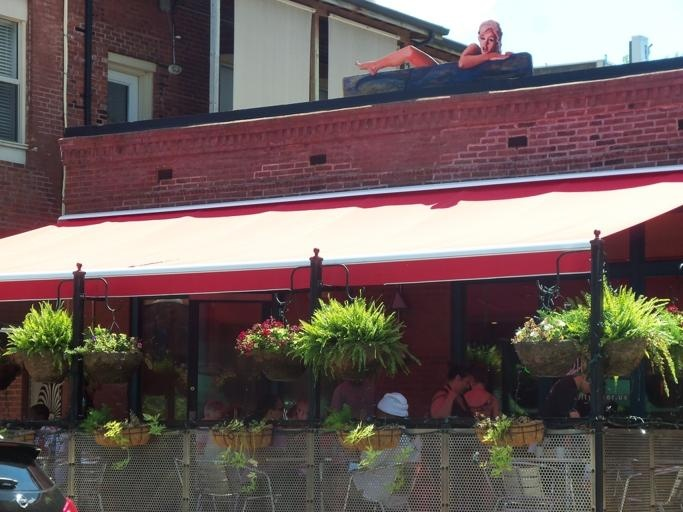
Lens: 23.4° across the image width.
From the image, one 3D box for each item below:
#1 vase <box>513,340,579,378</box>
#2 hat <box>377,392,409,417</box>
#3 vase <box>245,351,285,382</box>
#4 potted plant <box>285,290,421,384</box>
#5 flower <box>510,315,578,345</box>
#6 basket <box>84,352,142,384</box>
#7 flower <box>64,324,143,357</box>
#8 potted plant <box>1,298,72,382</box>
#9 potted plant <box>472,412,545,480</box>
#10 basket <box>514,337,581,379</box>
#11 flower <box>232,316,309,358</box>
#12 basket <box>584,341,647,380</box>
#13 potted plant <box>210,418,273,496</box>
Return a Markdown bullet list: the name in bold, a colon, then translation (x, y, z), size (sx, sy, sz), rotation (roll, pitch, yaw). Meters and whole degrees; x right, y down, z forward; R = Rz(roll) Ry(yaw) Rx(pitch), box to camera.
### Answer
- **vase**: translation (3.000, 1.440, 23.741), size (0.799, 0.407, 0.791), rotation (0, -9, 3)
- **hat**: translation (0.830, 2.284, 25.439), size (0.413, 0.257, 0.402), rotation (14, 5, -21)
- **vase**: translation (-1.241, 1.716, 26.238), size (0.754, 0.292, 0.683), rotation (6, -8, 42)
- **potted plant**: translation (0.088, 1.224, 24.608), size (1.491, 0.934, 1.475), rotation (1, -7, -6)
- **flower**: translation (2.885, 1.064, 23.602), size (0.518, 0.264, 0.516), rotation (3, -9, -29)
- **basket**: translation (-3.584, 1.667, 25.100), size (0.578, 0.299, 0.575), rotation (-1, -7, 20)
- **flower**: translation (-3.796, 1.313, 25.855), size (0.755, 0.340, 0.745), rotation (2, -1, -23)
- **potted plant**: translation (-4.783, 1.302, 25.516), size (1.225, 1.223, 1.160), rotation (8, -12, -33)
- **potted plant**: translation (2.345, 2.663, 23.206), size (0.901, 0.535, 0.865), rotation (0, -4, 11)
- **basket**: translation (3.000, 1.424, 23.562), size (0.651, 0.333, 0.643), rotation (6, -8, -33)
- **flower**: translation (-1.052, 1.221, 24.497), size (0.696, 0.392, 0.687), rotation (0, -4, 24)
- **basket**: translation (4.078, 1.449, 23.450), size (0.609, 0.411, 0.599), rotation (4, -8, -33)
- **potted plant**: translation (-1.467, 2.896, 23.959), size (0.986, 1.122, 1.015), rotation (-1, -6, 14)
